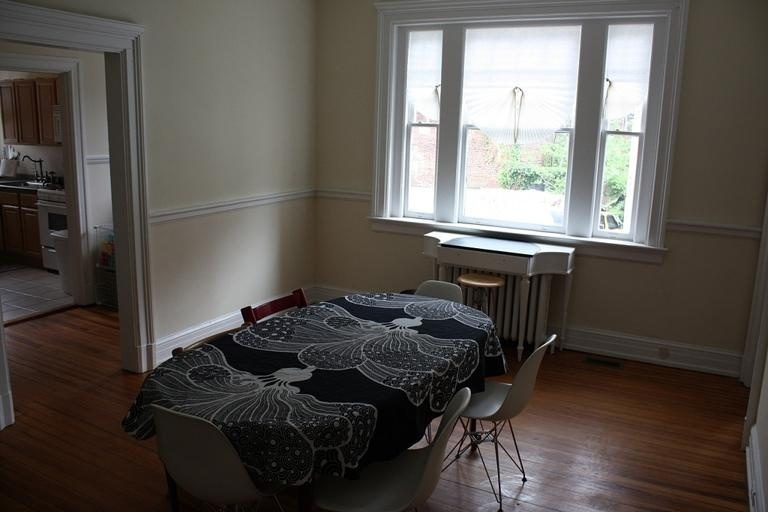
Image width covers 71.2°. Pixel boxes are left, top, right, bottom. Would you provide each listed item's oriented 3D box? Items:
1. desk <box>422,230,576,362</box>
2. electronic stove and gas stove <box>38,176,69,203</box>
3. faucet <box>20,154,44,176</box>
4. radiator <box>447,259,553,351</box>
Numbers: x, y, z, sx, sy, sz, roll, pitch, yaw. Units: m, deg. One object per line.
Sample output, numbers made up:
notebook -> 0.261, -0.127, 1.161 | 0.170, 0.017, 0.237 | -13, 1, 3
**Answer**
desk -> 1.115, 0.403, 5.657 | 1.542, 1.141, 0.569 | 10, 20, 29
electronic stove and gas stove -> -4.377, -0.861, 7.059 | 0.312, 0.236, 1.012 | -7, 17, -32
faucet -> -5.151, -1.341, 7.900 | 0.602, 0.294, 0.177 | 16, 20, 42
radiator -> 1.113, 0.443, 4.959 | 0.811, 0.770, 0.249 | 10, 22, 29
